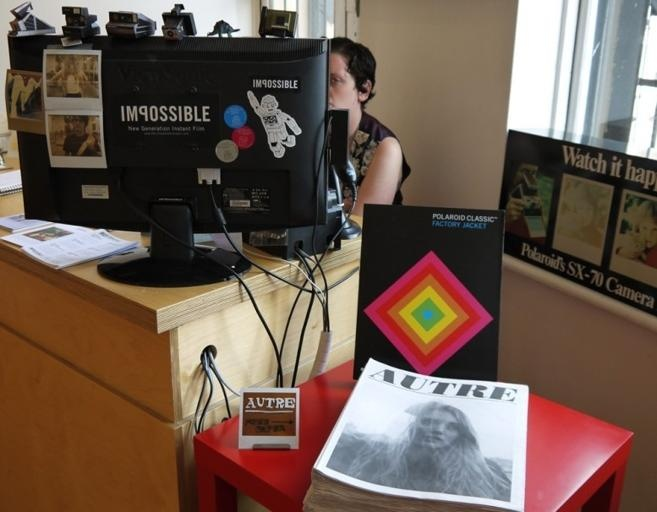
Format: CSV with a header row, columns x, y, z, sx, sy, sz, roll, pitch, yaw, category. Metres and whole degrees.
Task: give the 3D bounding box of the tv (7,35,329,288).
x,y,z,sx,sy,sz,roll,pitch,yaw,category
-0.350,-0.229,1.224,0.482,0.410,0.177,3,26,0,tv
